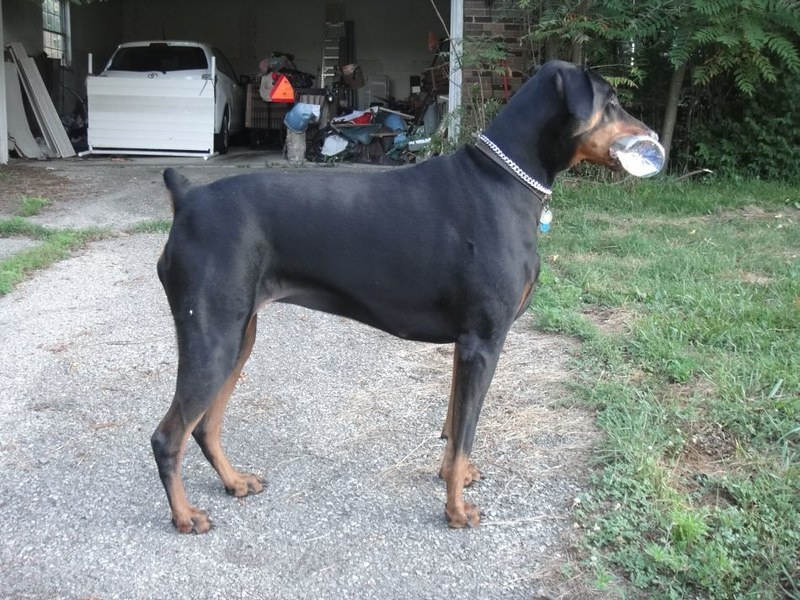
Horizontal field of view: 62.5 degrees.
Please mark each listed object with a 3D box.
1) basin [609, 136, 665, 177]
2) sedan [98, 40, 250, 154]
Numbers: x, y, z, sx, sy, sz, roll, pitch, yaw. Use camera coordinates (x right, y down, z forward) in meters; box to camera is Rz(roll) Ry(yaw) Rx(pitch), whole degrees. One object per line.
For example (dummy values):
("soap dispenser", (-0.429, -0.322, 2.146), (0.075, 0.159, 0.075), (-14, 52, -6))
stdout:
("basin", (0.993, -0.602, 2.777), (0.199, 0.170, 0.158), (-5, 27, -7))
("sedan", (-4.118, -3.814, 12.462), (1.573, 1.492, 3.065), (1, 17, 0))
